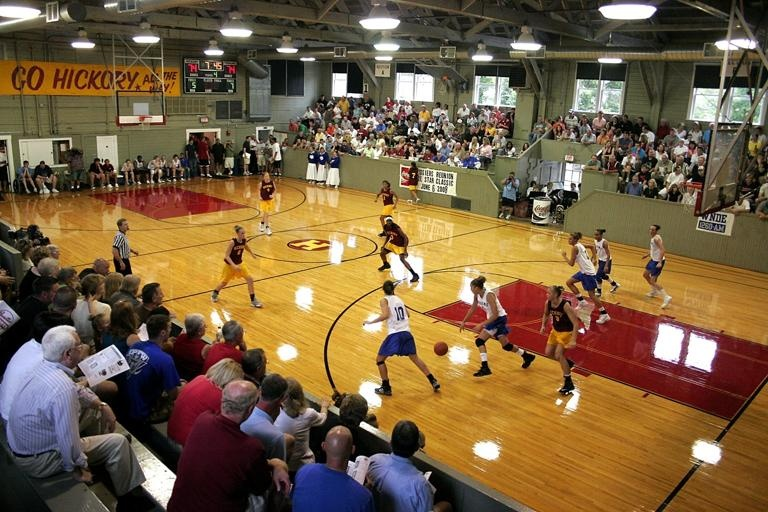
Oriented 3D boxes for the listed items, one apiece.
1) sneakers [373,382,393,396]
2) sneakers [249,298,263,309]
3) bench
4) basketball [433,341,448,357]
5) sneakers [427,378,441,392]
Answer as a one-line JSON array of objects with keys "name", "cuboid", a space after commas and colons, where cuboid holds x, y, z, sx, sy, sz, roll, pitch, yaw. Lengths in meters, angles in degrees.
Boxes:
[{"name": "sneakers", "cuboid": [-0.010, 2.348, 9.712, 0.302, 0.254, 0.224, -1, 13, -1]}, {"name": "sneakers", "cuboid": [-3.014, 1.111, 12.650, 0.341, 0.251, 0.155, 0, 18, -3]}, {"name": "bench", "cuboid": [-2.967, 1.862, 6.240, 1.064, 2.368, 1.476, 26, 37, 30]}, {"name": "basketball", "cuboid": [1.117, 1.740, 10.305, 0.269, 0.322, 0.270, 3, 4, 7]}, {"name": "sneakers", "cuboid": [0.944, 2.327, 9.892, 0.200, 0.241, 0.261, 0, 13, 3]}]
